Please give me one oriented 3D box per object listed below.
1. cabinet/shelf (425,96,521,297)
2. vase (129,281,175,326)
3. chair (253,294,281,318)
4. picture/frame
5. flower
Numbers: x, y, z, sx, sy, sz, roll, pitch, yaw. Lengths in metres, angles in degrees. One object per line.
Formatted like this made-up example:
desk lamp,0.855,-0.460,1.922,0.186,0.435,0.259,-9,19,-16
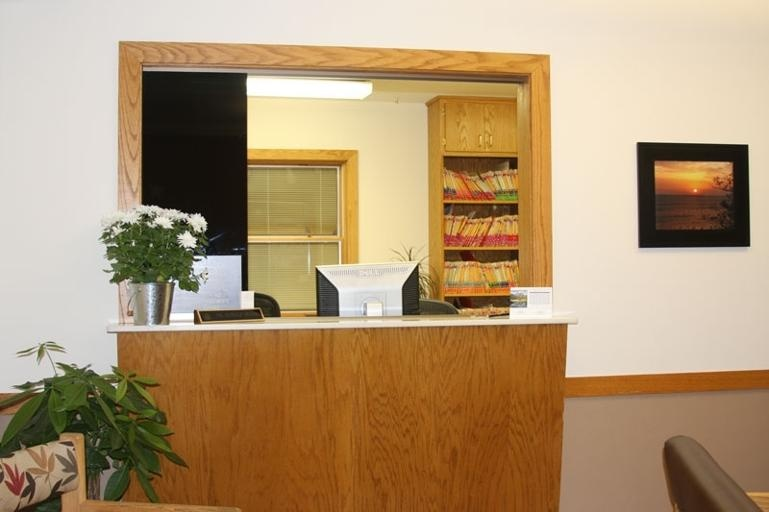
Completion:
cabinet/shelf,0.918,-0.406,6.507,0.817,2.209,0.364,0,9,2
vase,-1.314,0.300,3.743,0.285,0.216,0.285,-5,-14,14
chair,-0.935,0.392,5.194,0.190,0.188,0.242,0,1,-12
picture/frame,2.028,-0.383,4.406,0.722,0.640,0.054,1,-1,-3
flower,-1.343,-0.106,3.859,0.626,0.491,0.512,3,6,-10
